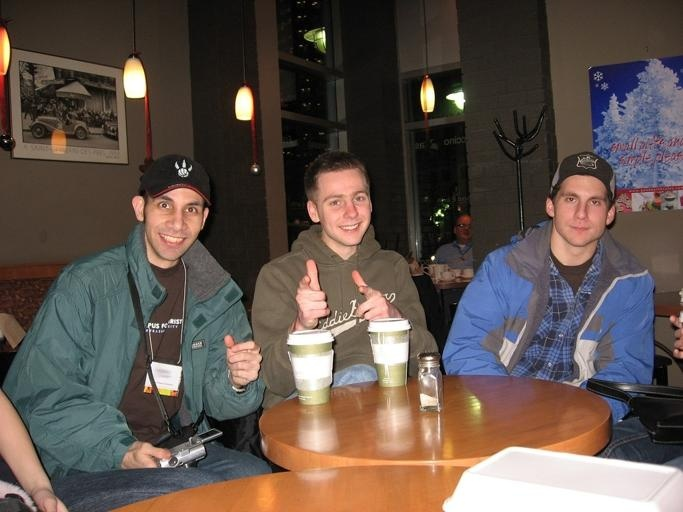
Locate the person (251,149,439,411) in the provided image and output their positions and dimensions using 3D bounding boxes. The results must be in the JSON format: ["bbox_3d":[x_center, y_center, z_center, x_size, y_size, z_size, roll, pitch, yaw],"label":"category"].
[{"bbox_3d":[0.039,0.291,2.707,0.737,1.490,0.836,-2,3,33],"label":"person"}]

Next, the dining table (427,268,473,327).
[{"bbox_3d":[1.158,0.395,5.860,0.546,0.604,0.618,1,4,24],"label":"dining table"}]

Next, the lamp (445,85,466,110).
[{"bbox_3d":[1.651,-2.257,8.023,0.113,0.345,0.261,-14,13,-43],"label":"lamp"}]

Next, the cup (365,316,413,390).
[{"bbox_3d":[0.186,0.361,2.251,0.221,0.291,0.229,-4,8,1],"label":"cup"}]

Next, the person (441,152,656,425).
[{"bbox_3d":[1.048,0.163,2.669,0.921,1.305,0.895,6,2,-7],"label":"person"}]

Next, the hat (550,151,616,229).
[{"bbox_3d":[1.203,-0.316,2.704,0.278,0.185,0.417,-7,44,4],"label":"hat"}]

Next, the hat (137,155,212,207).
[{"bbox_3d":[-0.761,-0.362,2.579,0.311,0.220,0.409,3,1,-34],"label":"hat"}]

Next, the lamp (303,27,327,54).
[{"bbox_3d":[-0.350,-3.177,8.142,0.347,0.186,0.352,-3,2,-9],"label":"lamp"}]

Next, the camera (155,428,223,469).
[{"bbox_3d":[-0.615,0.769,2.216,0.204,0.056,0.137,-23,28,-16],"label":"camera"}]

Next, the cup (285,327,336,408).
[{"bbox_3d":[-0.109,0.417,2.075,0.190,0.238,0.186,-4,-7,0],"label":"cup"}]
